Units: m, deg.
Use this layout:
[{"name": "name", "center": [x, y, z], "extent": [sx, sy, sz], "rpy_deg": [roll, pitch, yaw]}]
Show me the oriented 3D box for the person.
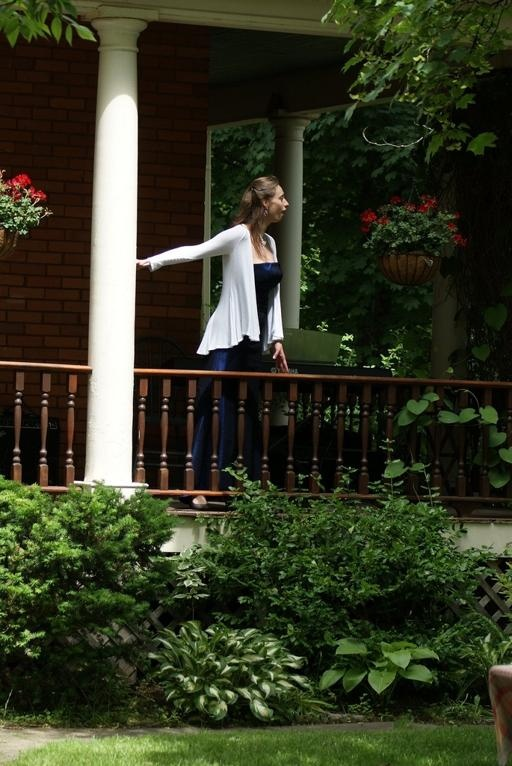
[{"name": "person", "center": [-0.179, -0.215, 6.603], "extent": [0.714, 1.832, 0.704], "rpy_deg": [0, -6, 1]}]
